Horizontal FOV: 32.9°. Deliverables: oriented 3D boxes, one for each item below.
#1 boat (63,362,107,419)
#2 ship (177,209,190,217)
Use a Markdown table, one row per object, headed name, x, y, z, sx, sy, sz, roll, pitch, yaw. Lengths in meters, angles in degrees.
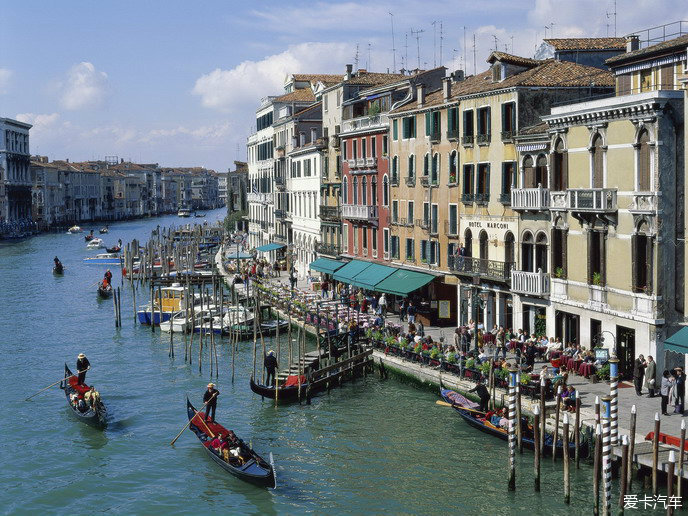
| name | x | y | z | sx | sy | sz | roll | pitch | yaw |
| --- | --- | --- | --- | --- | --- | --- | --- | --- | --- |
| boat | -16.411 | 8.835 | 73.856 | 1.612 | 2.379 | 7.374 | -8 | 14 | -24 |
| ship | -51.182 | -14.372 | 368.175 | 3.140 | 3.763 | 11.951 | -5 | 1 | -5 |
